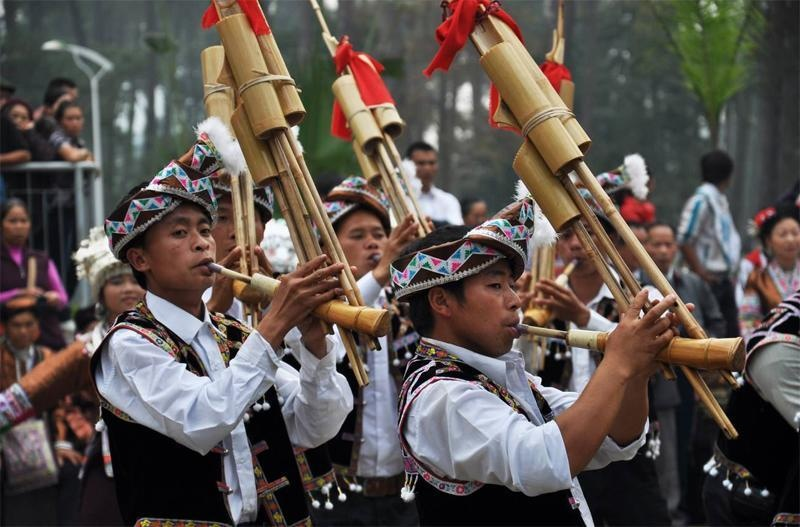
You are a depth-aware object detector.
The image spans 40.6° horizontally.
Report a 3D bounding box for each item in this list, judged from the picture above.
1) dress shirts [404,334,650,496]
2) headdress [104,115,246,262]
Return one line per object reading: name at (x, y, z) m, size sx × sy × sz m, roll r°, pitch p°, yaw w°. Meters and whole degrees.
dress shirts at (0.649, 0.763, 5.934) m, size 1.133 × 0.602 × 0.916 m, roll -1°, pitch -1°, yaw 12°
headdress at (-1.371, -0.551, 6.449) m, size 0.943 × 0.574 × 0.615 m, roll -15°, pitch 9°, yaw -34°
